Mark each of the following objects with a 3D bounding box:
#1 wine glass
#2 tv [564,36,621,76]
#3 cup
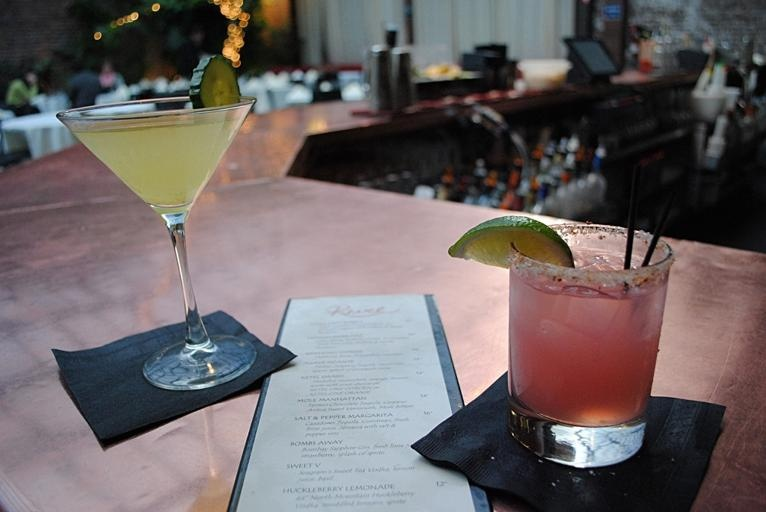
[{"bbox_3d":[-0.278,-0.028,0.836,0.279,0.386,0.243,-15,28,-18],"label":"wine glass"},{"bbox_3d":[0.831,-0.786,2.144,0.135,0.137,0.219,-14,26,-16],"label":"tv"},{"bbox_3d":[0.255,0.116,0.675,0.195,0.241,0.161,-2,27,9],"label":"cup"}]
